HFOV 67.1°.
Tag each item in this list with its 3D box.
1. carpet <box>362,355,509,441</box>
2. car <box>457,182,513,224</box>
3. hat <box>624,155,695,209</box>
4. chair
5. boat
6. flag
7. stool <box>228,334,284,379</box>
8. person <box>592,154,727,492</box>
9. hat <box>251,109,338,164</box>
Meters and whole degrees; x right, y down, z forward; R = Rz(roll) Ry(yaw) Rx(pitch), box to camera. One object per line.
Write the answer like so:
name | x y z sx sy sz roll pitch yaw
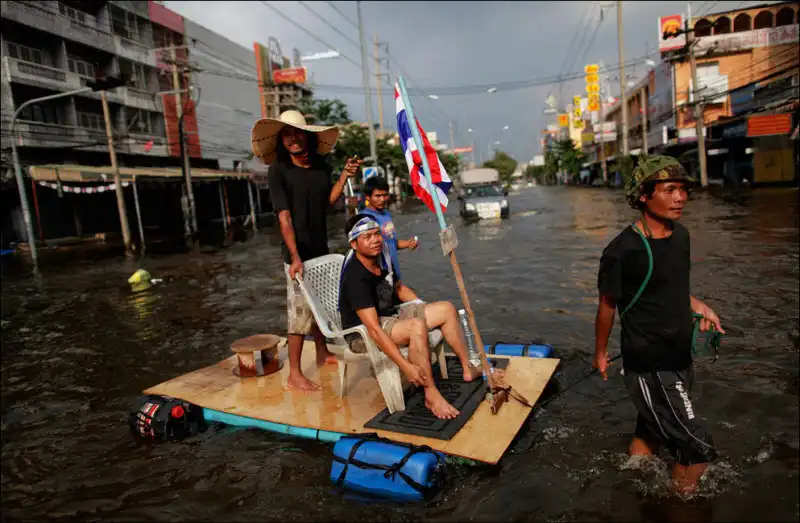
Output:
carpet | 0.403 1.669 7.249 1.019 0.028 1.785 3 11 21
car | 3.583 -2.581 26.149 1.525 1.158 2.336 -8 0 2
hat | 2.638 -0.796 6.000 0.569 0.577 0.710 4 8 -26
chair | -0.647 0.715 7.809 2.124 1.664 1.548 7 19 23
boat | -0.681 1.836 6.991 2.640 0.393 2.542 0 9 21
flag | 0.259 -1.297 6.911 0.500 1.530 0.763 -11 11 3
stool | -1.988 1.274 8.124 0.614 0.323 0.600 2 14 21
person | 2.464 0.650 5.978 0.982 3.309 0.775 -6 12 25
hat | -1.325 -1.713 7.800 1.155 0.395 0.871 2 -17 -22
